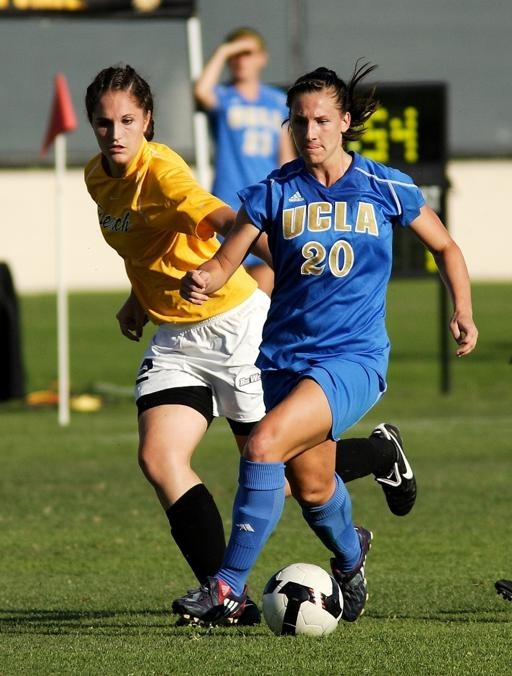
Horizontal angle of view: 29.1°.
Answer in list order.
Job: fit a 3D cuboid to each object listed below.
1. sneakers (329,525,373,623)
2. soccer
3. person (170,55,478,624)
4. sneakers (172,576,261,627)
[{"bbox_3d":[0.310,0.785,3.292,0.136,0.281,0.100,17,-19,-42],"label":"sneakers"},{"bbox_3d":[0.140,0.810,3.049,0.215,0.190,0.191,-2,-11,-5],"label":"soccer"},{"bbox_3d":[0.203,-0.001,2.955,0.896,1.713,0.364,0,-2,-5],"label":"person"},{"bbox_3d":[-0.110,0.793,2.968,0.345,0.154,0.119,11,-21,-29],"label":"sneakers"}]
